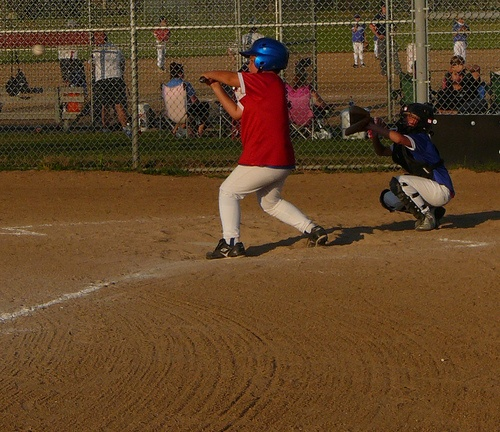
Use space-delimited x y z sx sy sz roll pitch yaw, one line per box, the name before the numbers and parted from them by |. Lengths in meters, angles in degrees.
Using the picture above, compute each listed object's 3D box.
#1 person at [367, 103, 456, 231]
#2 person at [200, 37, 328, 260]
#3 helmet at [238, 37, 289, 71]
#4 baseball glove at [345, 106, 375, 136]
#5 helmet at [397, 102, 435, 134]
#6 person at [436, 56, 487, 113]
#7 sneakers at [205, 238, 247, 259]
person | 1.458 -0.459 5.844 0.924 1.214 0.471 -7 11 -32
person | 0.103 -0.393 5.001 0.952 1.527 0.363 -4 10 -13
helmet | 0.093 -1.307 4.906 0.455 0.217 0.279 0 27 -13
baseball glove | 0.946 -0.838 5.324 0.246 0.250 0.265 0 9 10
helmet | 1.564 -0.953 5.878 0.361 0.280 0.281 23 18 6
person | 3.464 -2.169 9.986 0.797 0.980 1.286 1 9 16
sneakers | -0.190 0.286 5.180 0.397 0.141 0.124 0 2 2
